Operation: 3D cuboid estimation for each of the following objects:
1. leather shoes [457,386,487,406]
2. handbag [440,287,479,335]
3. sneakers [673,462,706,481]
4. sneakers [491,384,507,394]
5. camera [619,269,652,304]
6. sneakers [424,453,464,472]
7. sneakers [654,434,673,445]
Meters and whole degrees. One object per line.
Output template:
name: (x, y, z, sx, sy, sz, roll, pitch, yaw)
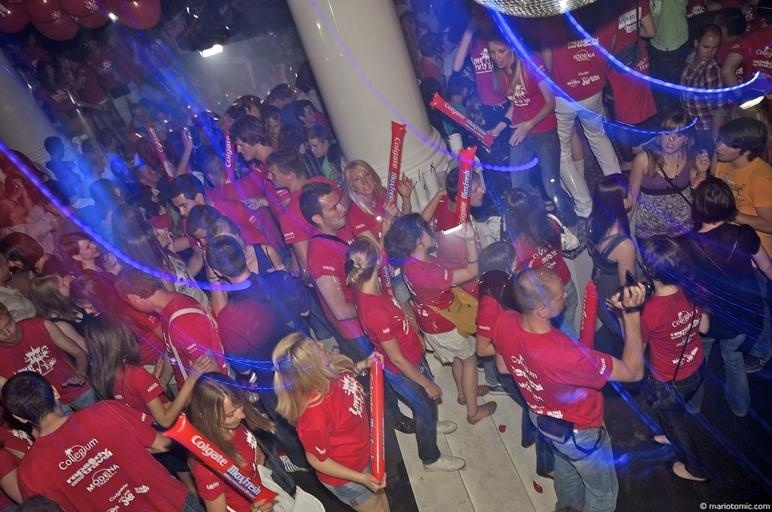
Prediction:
leather shoes: (1.000, 1.634, 6.776, 0.363, 0.161, 0.120, -31, 33, -28)
handbag: (0.772, 0.600, 6.200, 0.325, 0.379, 0.230, -59, 16, -16)
sneakers: (3.118, 2.209, 5.957, 0.329, 0.126, 0.097, 10, 33, 17)
sneakers: (1.323, 1.574, 6.913, 0.239, 0.108, 0.090, -3, 16, 2)
camera: (2.299, 0.227, 5.360, 0.090, 0.306, 0.289, -29, 15, -33)
sneakers: (0.662, 2.295, 6.522, 0.472, 0.213, 0.181, -4, 48, 0)
sneakers: (2.929, 1.933, 6.094, 0.088, 0.110, 0.187, -16, -14, -23)
